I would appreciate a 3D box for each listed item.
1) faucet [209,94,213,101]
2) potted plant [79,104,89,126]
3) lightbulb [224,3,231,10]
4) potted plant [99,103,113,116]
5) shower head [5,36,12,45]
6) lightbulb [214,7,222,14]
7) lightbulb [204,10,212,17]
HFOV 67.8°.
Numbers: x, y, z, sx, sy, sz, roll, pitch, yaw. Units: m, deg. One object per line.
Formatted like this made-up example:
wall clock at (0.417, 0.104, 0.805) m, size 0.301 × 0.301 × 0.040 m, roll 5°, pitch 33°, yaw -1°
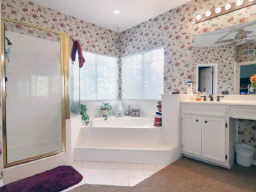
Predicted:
faucet at (1.568, 0.016, 3.621) m, size 0.088 × 0.126 × 0.093 m, roll 2°, pitch -3°, yaw -24°
potted plant at (-0.957, 0.384, 4.185) m, size 0.196 × 0.463 × 0.494 m, roll -1°, pitch 3°, yaw -12°
lightbulb at (1.829, -1.642, 3.511) m, size 0.049 × 0.095 × 0.134 m, roll -3°, pitch 4°, yaw -44°
potted plant at (-0.577, 0.344, 4.940) m, size 0.297 × 0.323 × 0.171 m, roll 0°, pitch 3°, yaw -4°
shower head at (-1.891, -0.884, 3.027) m, size 0.026 × 0.124 × 0.104 m, roll 1°, pitch 3°, yaw 24°
lightbulb at (1.697, -1.624, 3.608) m, size 0.135 × 0.100 × 0.060 m, roll 2°, pitch 3°, yaw 31°
lightbulb at (1.568, -1.635, 3.712) m, size 0.116 × 0.137 × 0.049 m, roll 18°, pitch -9°, yaw 28°
